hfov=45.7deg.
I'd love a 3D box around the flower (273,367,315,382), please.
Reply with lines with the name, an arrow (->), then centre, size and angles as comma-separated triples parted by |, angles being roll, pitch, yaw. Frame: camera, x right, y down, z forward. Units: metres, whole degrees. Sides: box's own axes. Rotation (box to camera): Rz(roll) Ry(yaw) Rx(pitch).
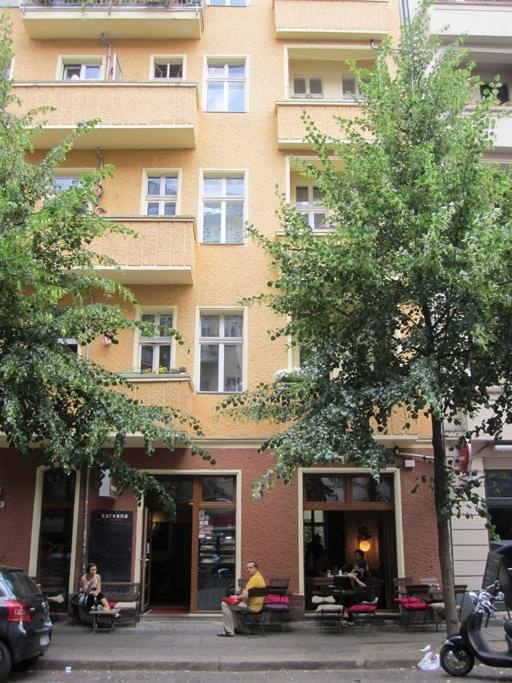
flower -> 0.596, 0.570, 10.204 | 0.394, 0.174, 0.399 | -5, 3, 21

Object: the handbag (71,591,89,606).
handbag -> -3.363, 4.981, 11.796 | 0.297, 0.385, 0.129 | -8, -43, 25

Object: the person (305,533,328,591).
person -> 1.342, 5.132, 14.249 | 0.407, 1.155, 0.315 | 15, -15, -25

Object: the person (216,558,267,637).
person -> -0.291, 4.674, 11.102 | 0.819, 1.274, 1.038 | 2, -14, -12

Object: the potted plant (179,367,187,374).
potted plant -> -1.617, 0.631, 13.459 | 0.133, 0.103, 0.125 | 1, -17, 5

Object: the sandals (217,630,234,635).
sandals -> -0.543, 5.213, 10.910 | 0.280, 0.101, 0.095 | 5, -25, -2

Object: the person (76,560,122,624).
person -> -3.057, 4.761, 11.727 | 0.479, 0.918, 1.015 | 13, -19, -42

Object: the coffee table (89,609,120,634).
coffee table -> -2.698, 5.008, 10.974 | 0.530, 0.348, 0.707 | 0, -23, -2
